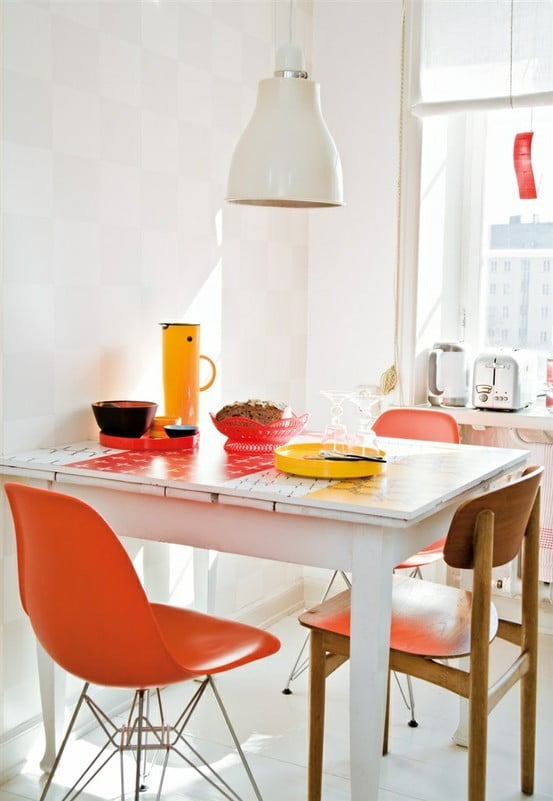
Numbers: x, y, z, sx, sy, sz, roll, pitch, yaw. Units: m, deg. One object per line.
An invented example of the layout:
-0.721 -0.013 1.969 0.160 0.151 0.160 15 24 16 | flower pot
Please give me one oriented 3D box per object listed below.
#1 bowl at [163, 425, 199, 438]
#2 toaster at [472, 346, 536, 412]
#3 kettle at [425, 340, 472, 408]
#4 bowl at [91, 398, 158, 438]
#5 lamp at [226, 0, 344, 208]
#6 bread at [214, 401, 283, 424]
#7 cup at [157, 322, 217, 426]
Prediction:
-0.233 0.078 1.655 0.082 0.026 0.075 -1 5 0 | bowl
0.779 -0.018 2.409 0.164 0.211 0.245 1 -20 27 | toaster
0.627 -0.091 2.501 0.161 0.235 0.125 1 6 24 | kettle
-0.354 0.058 1.630 0.099 0.062 0.110 0 -4 13 | bowl
0.020 -0.557 1.375 0.220 0.332 0.196 -5 7 -39 | lamp
-0.064 0.030 1.583 0.170 0.045 0.114 4 7 43 | bread
-0.259 -0.066 1.813 0.099 0.270 0.082 -2 5 -11 | cup
